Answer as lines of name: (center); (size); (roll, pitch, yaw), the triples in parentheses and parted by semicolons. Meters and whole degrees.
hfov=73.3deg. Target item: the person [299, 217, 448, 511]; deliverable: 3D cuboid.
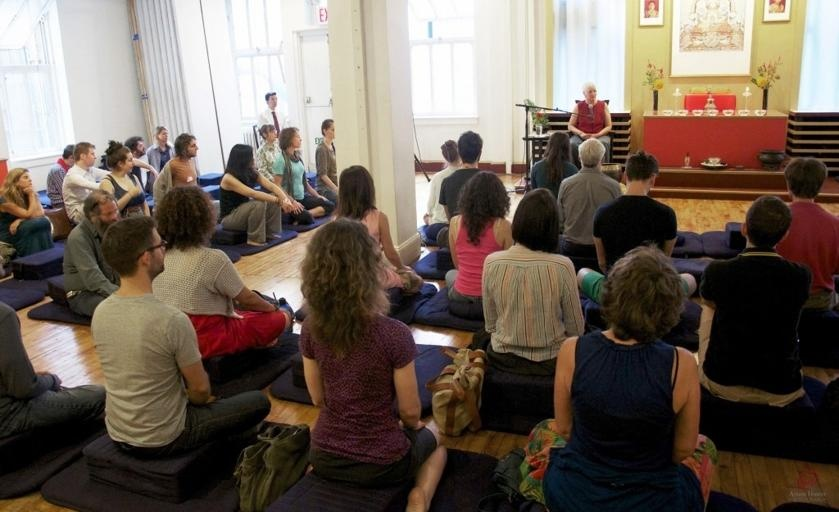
person: (-0.269, 0.646, 3.145); (0.762, 1.700, 0.351); (-3, 14, 0)

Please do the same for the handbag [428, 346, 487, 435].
handbag: (0.313, 0.987, 3.893); (0.417, 0.294, 0.699); (0, 33, 18)

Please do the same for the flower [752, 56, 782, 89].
flower: (5.751, -3.066, 9.325); (0.419, 0.563, 0.367); (-16, 30, -20)

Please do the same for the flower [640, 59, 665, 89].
flower: (4.009, -3.094, 9.618); (0.324, 0.468, 0.593); (3, 15, 22)

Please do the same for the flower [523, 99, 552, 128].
flower: (2.037, -2.457, 9.608); (0.646, 0.421, 0.446); (9, 22, 14)

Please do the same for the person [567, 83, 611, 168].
person: (2.768, -1.984, 9.158); (0.664, 1.557, 0.885); (1, 16, 13)

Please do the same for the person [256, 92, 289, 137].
person: (-2.743, -2.670, 10.680); (0.549, 0.845, 0.408); (-2, -6, -30)

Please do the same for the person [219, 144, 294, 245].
person: (-2.131, -0.806, 7.292); (0.844, 1.227, 0.727); (18, 21, 41)

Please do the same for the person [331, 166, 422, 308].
person: (-0.471, -0.237, 5.329); (0.794, 1.318, 0.802); (17, 28, 38)

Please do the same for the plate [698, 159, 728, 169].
plate: (4.446, -1.408, 8.543); (0.349, 0.158, 0.282); (7, 17, 33)

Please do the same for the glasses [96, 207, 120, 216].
glasses: (-2.736, -0.390, 4.992); (0.136, 0.096, 0.033); (-14, 18, -38)

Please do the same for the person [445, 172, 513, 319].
person: (0.591, -0.136, 4.960); (0.769, 1.239, 0.850); (4, 13, 14)
